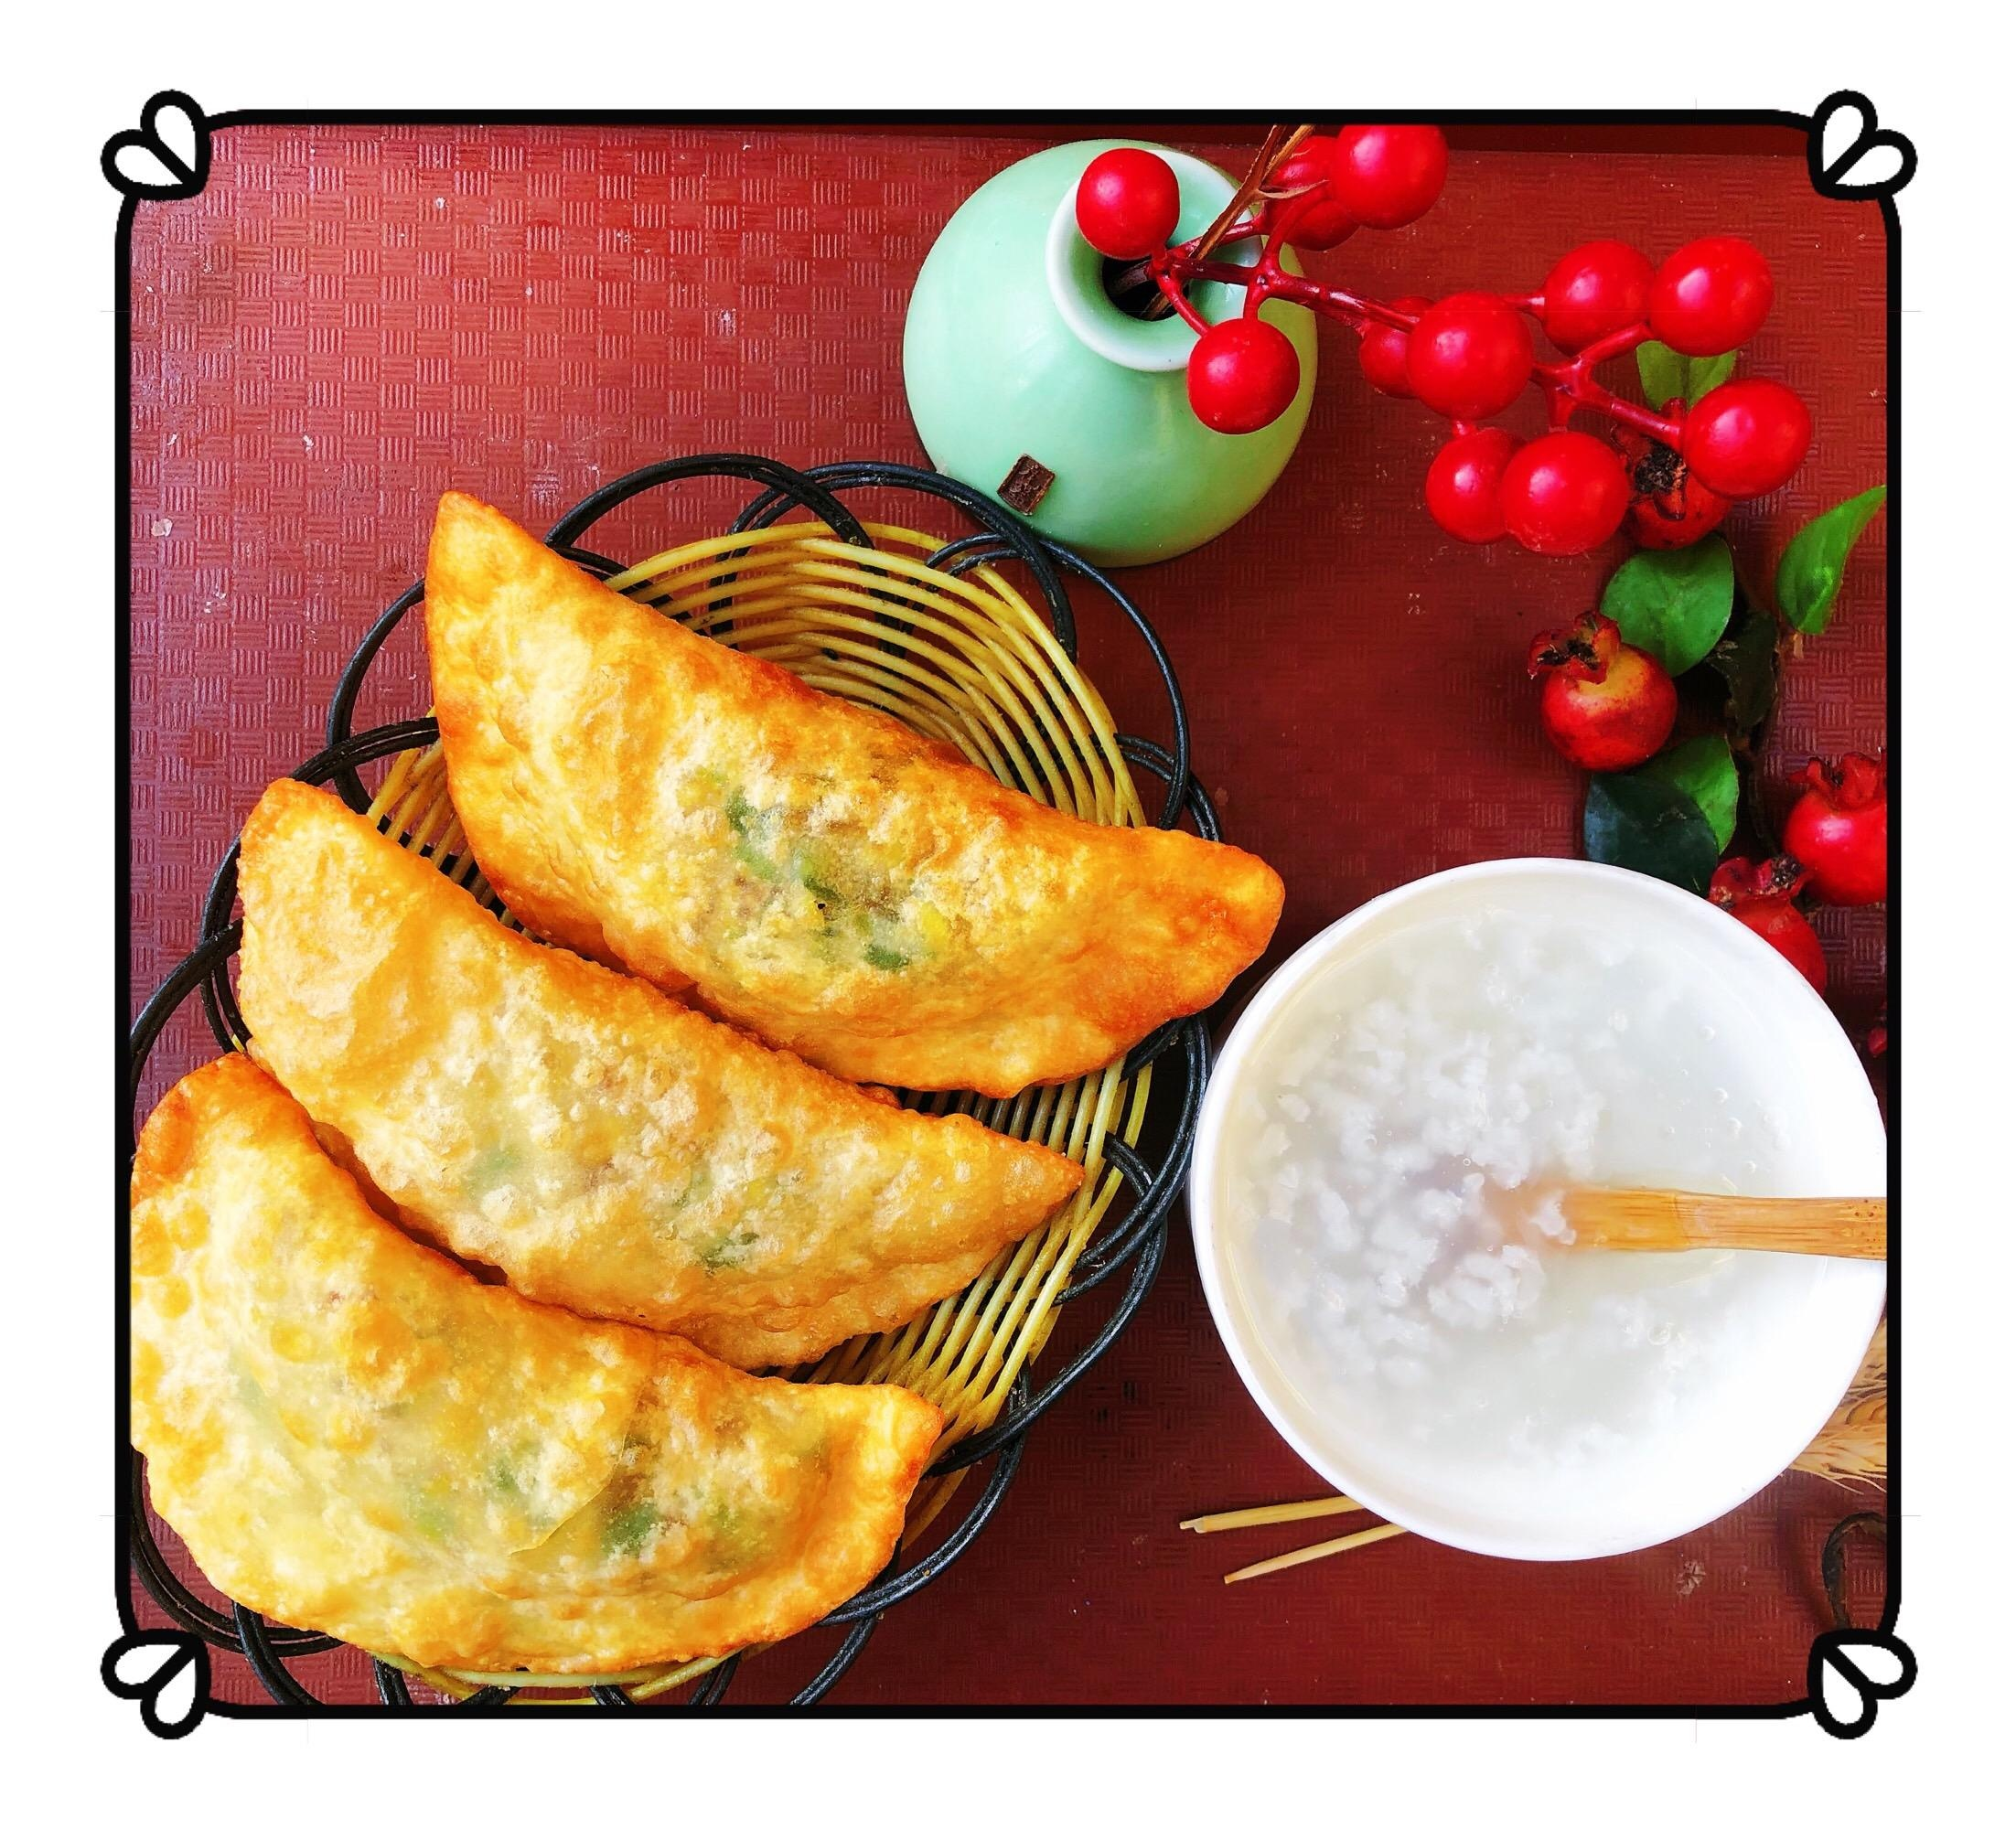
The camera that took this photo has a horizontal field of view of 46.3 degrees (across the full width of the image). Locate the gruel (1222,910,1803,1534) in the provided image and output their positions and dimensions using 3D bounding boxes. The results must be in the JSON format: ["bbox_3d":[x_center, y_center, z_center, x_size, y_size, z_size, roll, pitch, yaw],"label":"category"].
[{"bbox_3d":[0.287,0.172,1.323,0.283,0.095,0.344,-1,91,1],"label":"gruel"}]

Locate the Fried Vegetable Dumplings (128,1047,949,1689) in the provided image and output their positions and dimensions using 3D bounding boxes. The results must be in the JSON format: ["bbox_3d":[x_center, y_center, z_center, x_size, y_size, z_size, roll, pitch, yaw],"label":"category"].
[{"bbox_3d":[-0.282,0.284,1.256,0.454,0.128,0.252,24,75,6],"label":"Fried Vegetable Dumplings"}]
